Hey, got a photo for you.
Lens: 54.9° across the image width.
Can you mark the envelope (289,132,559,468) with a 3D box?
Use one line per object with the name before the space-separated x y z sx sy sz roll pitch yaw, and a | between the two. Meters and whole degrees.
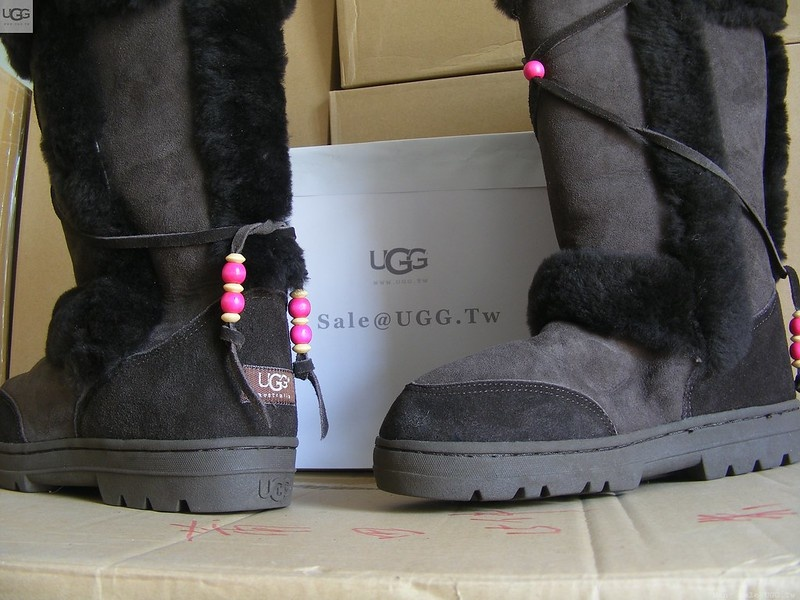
envelope | 0.058 0.015 1.271 0.566 0.525 0.201 -2 -5 40
